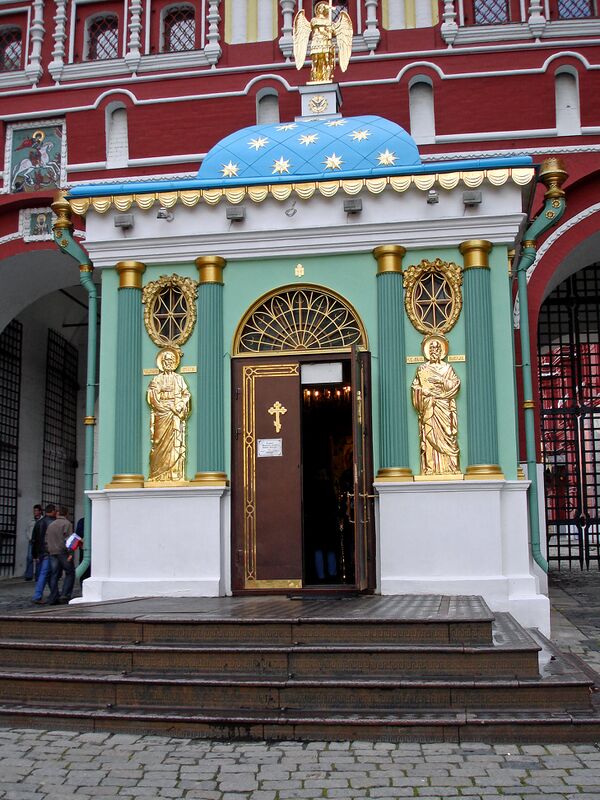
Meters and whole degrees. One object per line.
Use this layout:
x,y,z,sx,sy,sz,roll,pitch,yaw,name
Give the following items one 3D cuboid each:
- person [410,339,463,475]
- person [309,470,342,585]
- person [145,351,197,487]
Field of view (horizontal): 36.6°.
1.293,0.028,8.643,0.421,1.329,0.152,-3,-6,5,person
0.272,1.308,9.801,0.304,1.131,0.245,-2,-6,2,person
-1.298,0.123,9.128,0.434,1.335,0.133,-3,-6,11,person
